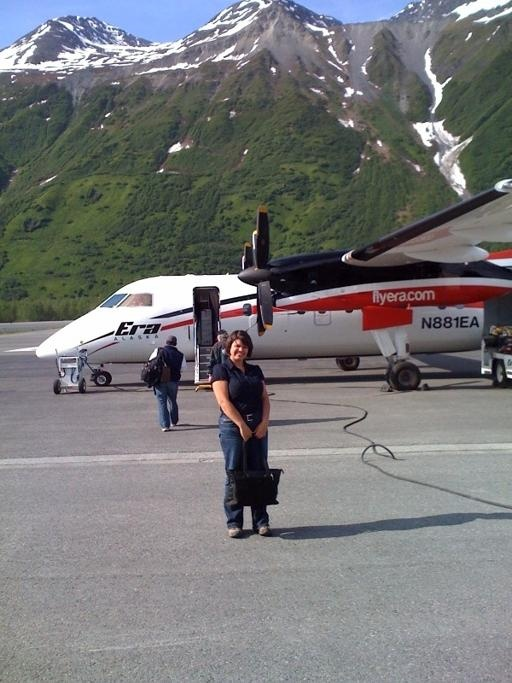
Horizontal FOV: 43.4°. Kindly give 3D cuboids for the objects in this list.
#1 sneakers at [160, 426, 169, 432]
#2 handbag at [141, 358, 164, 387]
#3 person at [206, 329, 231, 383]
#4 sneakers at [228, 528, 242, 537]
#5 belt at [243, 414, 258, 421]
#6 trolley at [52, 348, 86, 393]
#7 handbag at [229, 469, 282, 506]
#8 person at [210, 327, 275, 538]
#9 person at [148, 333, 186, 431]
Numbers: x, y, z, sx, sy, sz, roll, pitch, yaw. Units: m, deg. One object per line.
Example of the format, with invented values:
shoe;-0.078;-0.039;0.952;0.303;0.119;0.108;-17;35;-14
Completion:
sneakers;-1.637;1.571;11.578;0.098;0.097;0.272;0;5;-10
handbag;-1.885;0.573;11.734;0.385;0.459;0.292;-2;1;1
person;-0.552;0.292;10.060;0.433;0.950;0.281;-3;19;-23
sneakers;-0.191;1.770;5.943;0.125;0.079;0.118;-2;1;-3
belt;-0.047;0.704;5.940;0.106;0.059;0.018;-3;1;-24
trolley;-5.174;0.799;18.243;0.728;0.880;1.588;0;3;-1
handbag;-0.023;1.299;5.730;0.442;0.373;0.176;1;-6;-6
person;-0.131;0.866;5.987;0.512;1.537;0.610;-2;1;1
person;-1.647;0.766;12.055;0.610;1.488;1.110;-2;1;-6
